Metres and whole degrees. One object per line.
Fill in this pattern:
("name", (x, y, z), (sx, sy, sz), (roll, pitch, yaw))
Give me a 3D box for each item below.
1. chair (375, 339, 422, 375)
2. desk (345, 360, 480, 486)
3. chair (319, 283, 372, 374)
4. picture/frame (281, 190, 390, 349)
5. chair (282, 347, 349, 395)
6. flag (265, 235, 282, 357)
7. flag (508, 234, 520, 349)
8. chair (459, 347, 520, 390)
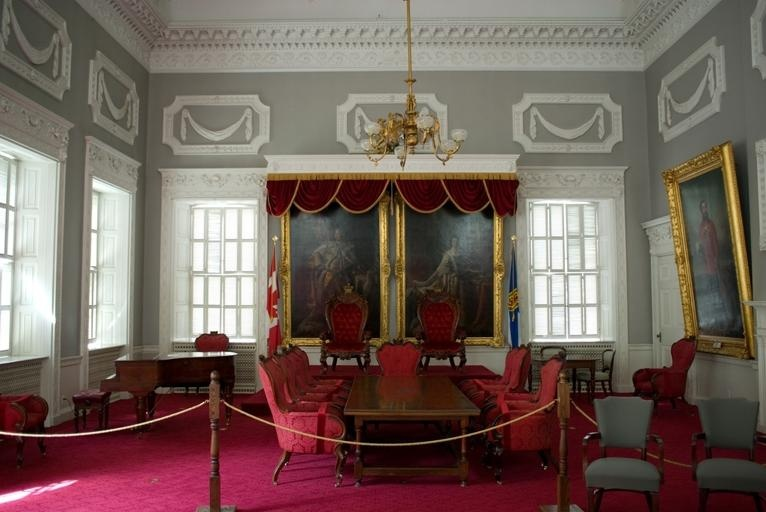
("chair", (0.289, 1.841, 11.070), (0.553, 0.854, 0.652), (0, -15, 0))
("desk", (0.355, 2.460, 8.848), (1.741, 1.021, 1.839), (0, 5, -1))
("chair", (-0.770, 1.484, 12.577), (1.214, 2.289, 1.290), (0, -10, -3))
("picture/frame", (-0.946, 0.382, 12.639), (2.906, 4.444, 0.329), (0, -6, -2))
("chair", (-1.205, 1.939, 9.955), (0.630, 0.504, 1.105), (0, -7, 2))
("flag", (-2.264, 0.845, 12.533), (0.297, 2.456, 0.908), (-1, 4, -11))
("flag", (2.693, 0.700, 12.588), (0.271, 2.237, 0.755), (1, 4, 12))
("chair", (1.827, 1.916, 10.104), (0.757, 1.082, 0.715), (1, -6, 2))
